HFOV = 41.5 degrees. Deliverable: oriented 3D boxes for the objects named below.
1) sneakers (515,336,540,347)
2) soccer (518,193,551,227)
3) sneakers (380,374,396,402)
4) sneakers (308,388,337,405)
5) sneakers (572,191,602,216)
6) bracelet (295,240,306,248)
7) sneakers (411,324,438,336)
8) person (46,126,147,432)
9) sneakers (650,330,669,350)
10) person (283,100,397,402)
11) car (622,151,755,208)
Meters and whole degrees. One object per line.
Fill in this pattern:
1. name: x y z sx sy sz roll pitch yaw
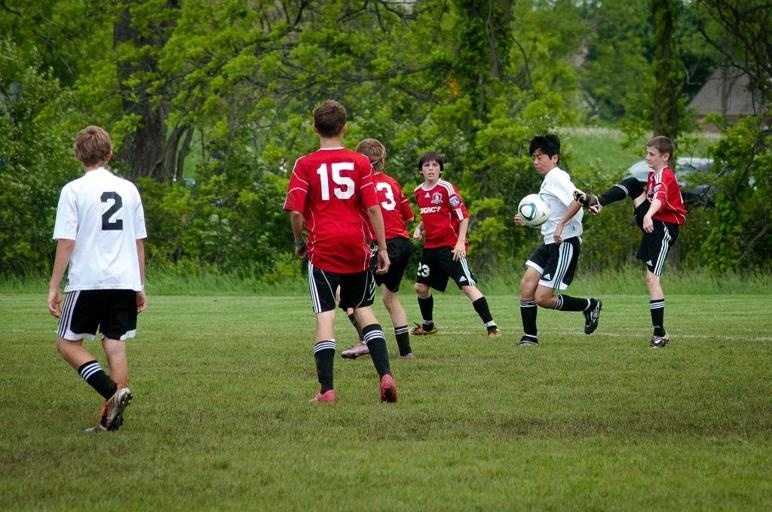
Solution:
1. sneakers: 1.987 1.198 14.274 0.315 0.131 0.124 -1 -7 3
2. soccer: 2.069 -0.641 14.250 0.429 0.442 0.482 15 -25 -40
3. sneakers: 0.024 1.530 11.694 0.124 0.162 0.359 1 -35 -3
4. sneakers: -0.724 1.636 11.737 0.328 0.136 0.118 0 1 26
5. sneakers: 2.690 -0.724 13.684 0.492 0.213 0.194 27 17 -28
6. bracelet: -0.997 -0.144 11.902 0.089 0.066 0.087 -2 -1 -4
7. sneakers: 0.574 1.120 15.399 0.412 0.179 0.150 1 0 6
8. person: -3.220 0.225 11.316 1.027 3.219 1.080 -1 12 1
9. sneakers: 3.785 1.170 14.116 0.126 0.133 0.342 -3 3 40
10. person: -0.549 -0.036 11.754 1.161 3.394 0.901 -2 13 -2
11. car: 6.404 -1.554 21.024 3.527 1.061 2.146 -7 8 -42
